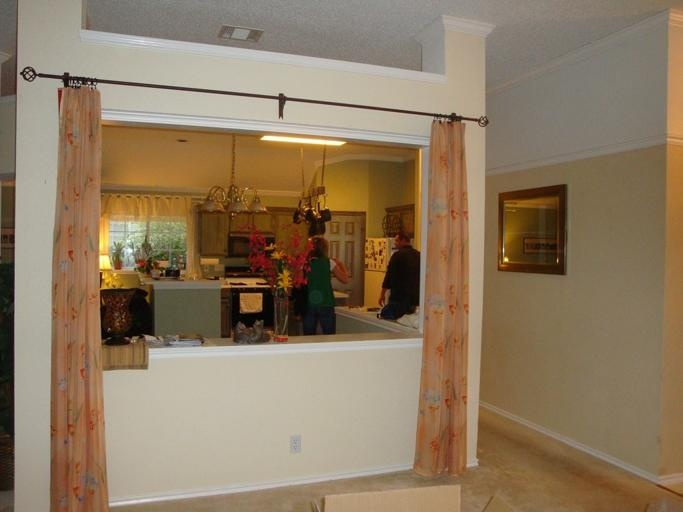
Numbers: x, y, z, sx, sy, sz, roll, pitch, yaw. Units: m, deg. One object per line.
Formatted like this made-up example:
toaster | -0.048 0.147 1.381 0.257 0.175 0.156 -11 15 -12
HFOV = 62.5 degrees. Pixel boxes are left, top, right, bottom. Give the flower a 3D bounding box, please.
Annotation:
flower | -0.515 0.284 4.861 0.520 0.897 0.509 0 5 -39

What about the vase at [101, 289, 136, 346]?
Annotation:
vase | -1.746 0.462 4.431 0.246 0.416 0.309 0 2 -22

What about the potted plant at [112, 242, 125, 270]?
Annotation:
potted plant | -4.312 -0.015 10.958 0.229 0.532 0.202 -1 2 -40

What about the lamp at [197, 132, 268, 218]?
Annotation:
lamp | -1.372 -1.103 7.187 0.633 1.099 0.676 -3 -6 -2

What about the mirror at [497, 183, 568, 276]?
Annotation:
mirror | 1.966 -0.276 5.769 0.069 1.017 0.885 0 3 -29

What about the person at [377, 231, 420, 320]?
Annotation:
person | 0.631 0.196 6.139 0.411 0.896 0.896 1 1 7

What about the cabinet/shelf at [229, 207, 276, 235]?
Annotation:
cabinet/shelf | -1.494 -0.581 9.298 0.710 0.732 0.404 1 -5 -20

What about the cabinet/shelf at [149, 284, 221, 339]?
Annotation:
cabinet/shelf | -2.013 0.542 7.245 0.782 0.839 0.824 -1 2 -21
